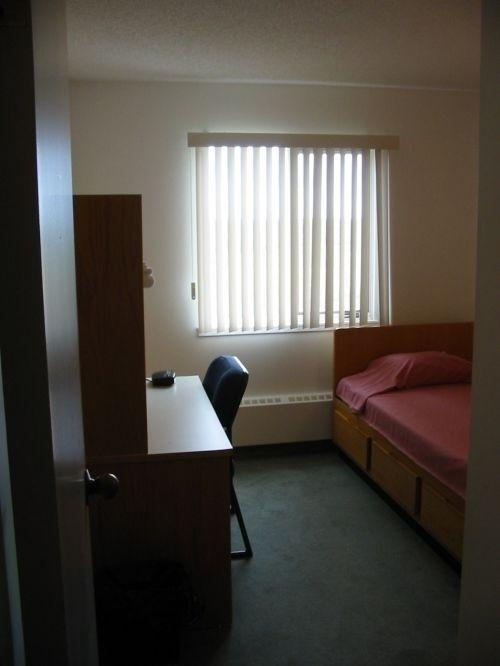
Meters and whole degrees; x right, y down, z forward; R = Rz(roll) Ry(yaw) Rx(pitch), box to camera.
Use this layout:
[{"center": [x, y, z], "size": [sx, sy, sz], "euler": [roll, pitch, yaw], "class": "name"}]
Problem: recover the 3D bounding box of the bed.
[{"center": [0.916, 0.429, 2.952], "size": [0.588, 0.738, 1.237], "euler": [-1, 20, -5], "class": "bed"}]
